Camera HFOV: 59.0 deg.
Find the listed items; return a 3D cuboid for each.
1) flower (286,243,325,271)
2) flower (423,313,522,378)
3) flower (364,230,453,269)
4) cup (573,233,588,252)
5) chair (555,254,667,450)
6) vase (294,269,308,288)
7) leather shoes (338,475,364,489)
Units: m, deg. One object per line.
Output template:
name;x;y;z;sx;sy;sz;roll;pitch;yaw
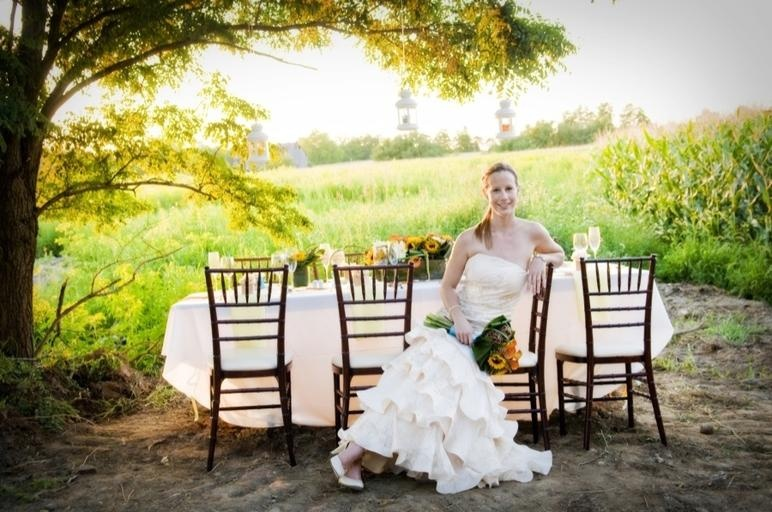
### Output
flower;-0.804;0.013;6.896;0.249;0.115;0.266;-13;12;2
flower;0.754;0.743;5.862;0.701;0.526;0.405;22;7;22
flower;0.240;-0.074;6.855;0.519;0.241;0.411;-3;-6;-41
cup;1.943;-0.138;6.828;0.146;0.174;0.159;-1;4;0
chair;2.215;0.875;6.638;0.991;1.773;1.214;-2;2;40
vase;-0.867;0.219;6.928;0.153;0.201;0.164;0;3;-8
leather shoes;-0.286;1.903;5.738;0.241;0.111;0.094;8;-1;8
